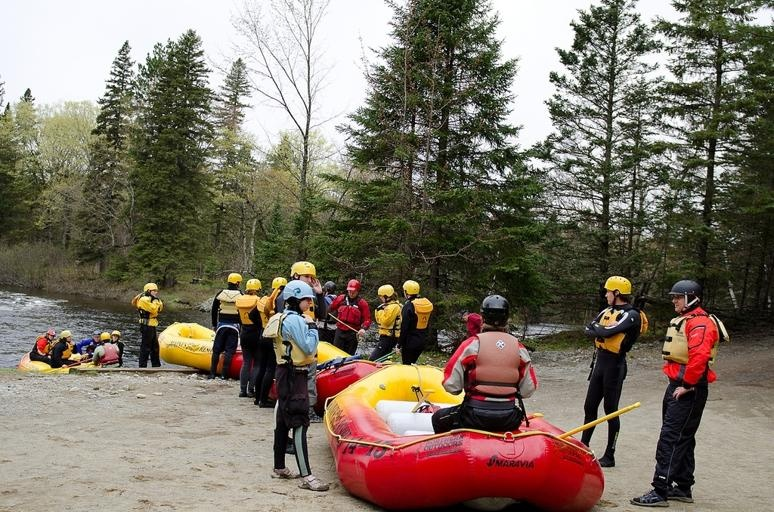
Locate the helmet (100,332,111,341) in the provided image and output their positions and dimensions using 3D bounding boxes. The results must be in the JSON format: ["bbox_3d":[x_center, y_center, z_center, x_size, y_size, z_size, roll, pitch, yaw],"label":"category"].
[{"bbox_3d":[-10.893,3.098,30.070,0.351,0.355,0.473,0,-5,-13],"label":"helmet"}]

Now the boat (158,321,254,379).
[{"bbox_3d":[-6.470,3.230,27.032,3.051,0.957,1.710,12,10,42],"label":"boat"}]

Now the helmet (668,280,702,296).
[{"bbox_3d":[7.707,0.816,19.941,0.659,0.319,0.492,6,-10,10],"label":"helmet"}]

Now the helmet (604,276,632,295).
[{"bbox_3d":[6.361,0.784,21.305,0.649,0.372,0.501,-2,1,16],"label":"helmet"}]

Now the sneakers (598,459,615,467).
[{"bbox_3d":[5.916,5.491,20.836,0.404,0.138,0.218,7,-6,4],"label":"sneakers"}]

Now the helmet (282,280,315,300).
[{"bbox_3d":[-2.276,0.862,20.104,0.668,0.330,0.463,2,1,6],"label":"helmet"}]

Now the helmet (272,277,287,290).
[{"bbox_3d":[-3.313,0.805,24.124,0.442,0.440,0.558,1,-7,-6],"label":"helmet"}]

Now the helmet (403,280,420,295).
[{"bbox_3d":[0.779,0.965,24.284,0.383,0.415,0.461,-2,13,-25],"label":"helmet"}]

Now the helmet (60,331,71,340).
[{"bbox_3d":[-12.334,3.059,29.891,0.460,0.196,0.365,5,16,28],"label":"helmet"}]

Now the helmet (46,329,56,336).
[{"bbox_3d":[-12.698,2.877,29.422,0.258,0.236,0.299,8,7,-42],"label":"helmet"}]

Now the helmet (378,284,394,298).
[{"bbox_3d":[-0.026,1.089,24.706,0.449,0.328,0.368,7,4,21],"label":"helmet"}]

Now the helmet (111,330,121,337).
[{"bbox_3d":[-10.496,2.975,30.185,0.468,0.205,0.638,3,-11,-10],"label":"helmet"}]

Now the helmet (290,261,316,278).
[{"bbox_3d":[-2.383,0.375,22.136,0.578,0.440,0.446,-6,-4,30],"label":"helmet"}]

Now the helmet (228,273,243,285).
[{"bbox_3d":[-4.956,0.737,25.525,0.466,0.341,0.355,-5,16,-11],"label":"helmet"}]
